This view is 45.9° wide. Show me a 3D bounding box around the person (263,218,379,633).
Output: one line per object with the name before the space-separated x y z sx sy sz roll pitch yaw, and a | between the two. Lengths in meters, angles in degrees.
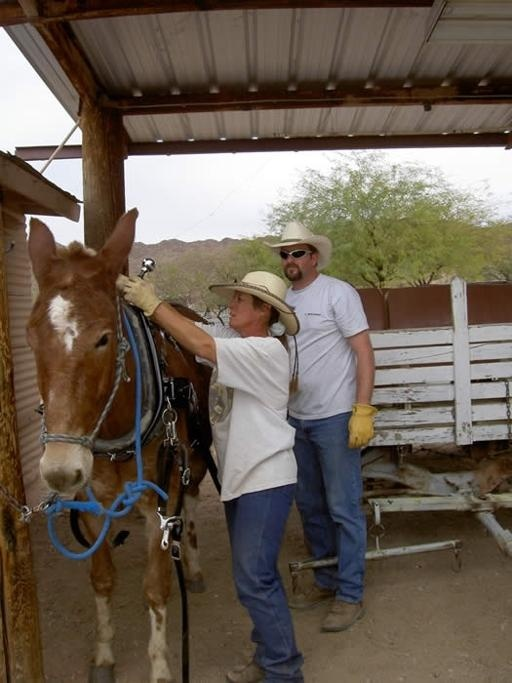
person | 0.454 0.454 3.744 0.789 2.247 0.757 0 1 2

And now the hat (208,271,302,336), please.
hat | -0.017 -0.179 2.992 0.409 0.318 0.315 -4 11 -39

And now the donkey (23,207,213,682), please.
donkey | -0.581 0.604 2.923 0.680 2.361 1.727 -4 5 -3

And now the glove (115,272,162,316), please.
glove | -0.514 -0.194 2.596 0.189 0.177 0.141 -4 5 -6

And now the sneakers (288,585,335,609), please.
sneakers | 0.349 1.624 3.845 0.284 0.108 0.113 2 -6 -11

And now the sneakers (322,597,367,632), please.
sneakers | 0.530 1.600 3.533 0.111 0.129 0.295 -17 -17 35

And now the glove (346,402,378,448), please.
glove | 0.601 0.470 3.400 0.193 0.221 0.100 3 5 -5
